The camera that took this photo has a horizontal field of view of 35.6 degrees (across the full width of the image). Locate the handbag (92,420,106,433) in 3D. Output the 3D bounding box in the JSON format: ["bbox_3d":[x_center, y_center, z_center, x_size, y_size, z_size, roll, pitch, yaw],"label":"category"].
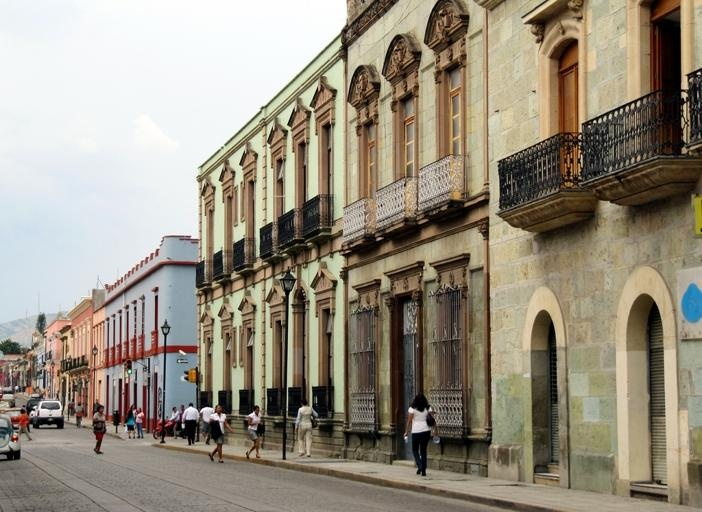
[{"bbox_3d":[-8.748,5.952,38.124,0.368,0.590,0.530,-8,-10,25],"label":"handbag"}]

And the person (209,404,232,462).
[{"bbox_3d":[-4.199,5.683,34.907,0.646,1.819,1.064,0,-6,-5],"label":"person"}]

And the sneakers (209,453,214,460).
[{"bbox_3d":[-4.489,6.436,35.068,0.117,0.186,0.421,1,-3,4],"label":"sneakers"}]

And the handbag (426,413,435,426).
[{"bbox_3d":[1.987,4.094,27.277,0.203,0.328,0.313,0,-7,-4],"label":"handbag"}]

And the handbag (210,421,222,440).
[{"bbox_3d":[-4.259,5.480,34.460,0.322,0.642,0.157,-6,-5,3],"label":"handbag"}]

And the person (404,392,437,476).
[{"bbox_3d":[1.735,4.412,27.062,0.692,2.043,1.026,-2,0,4],"label":"person"}]
